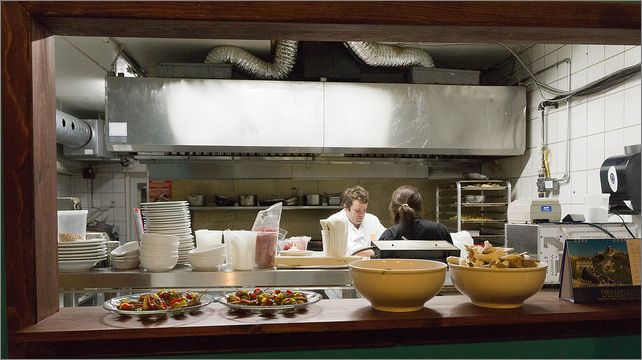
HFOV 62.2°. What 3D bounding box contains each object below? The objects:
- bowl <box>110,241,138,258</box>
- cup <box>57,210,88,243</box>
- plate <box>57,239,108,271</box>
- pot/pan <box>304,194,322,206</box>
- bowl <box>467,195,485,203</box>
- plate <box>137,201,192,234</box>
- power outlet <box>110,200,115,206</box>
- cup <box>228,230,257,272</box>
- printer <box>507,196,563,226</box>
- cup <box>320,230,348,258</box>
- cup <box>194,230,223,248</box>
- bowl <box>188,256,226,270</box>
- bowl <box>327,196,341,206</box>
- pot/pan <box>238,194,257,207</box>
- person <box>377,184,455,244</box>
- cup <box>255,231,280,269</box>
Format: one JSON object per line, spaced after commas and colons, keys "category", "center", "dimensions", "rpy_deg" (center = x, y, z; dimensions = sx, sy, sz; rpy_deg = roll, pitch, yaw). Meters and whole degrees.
{"category": "bowl", "center": [-1.800, 0.633, 4.868], "dimensions": [0.251, 0.078, 0.294], "rpy_deg": [-7, 13, -22]}
{"category": "cup", "center": [-2.161, 0.404, 4.574], "dimensions": [0.334, 0.218, 0.299], "rpy_deg": [2, -4, -11]}
{"category": "plate", "center": [-2.107, 0.658, 4.663], "dimensions": [0.321, 0.144, 0.299], "rpy_deg": [0, -7, 3]}
{"category": "pot/pan", "center": [-0.126, 0.288, 7.339], "dimensions": [0.181, 0.095, 0.172], "rpy_deg": [2, -1, -37]}
{"category": "bowl", "center": [2.003, 0.261, 6.928], "dimensions": [0.150, 0.050, 0.138], "rpy_deg": [2, -7, 0]}
{"category": "plate", "center": [-1.386, 0.349, 4.864], "dimensions": [0.367, 0.217, 0.340], "rpy_deg": [-1, -7, 1]}
{"category": "power outlet", "center": [-3.726, 0.428, 9.507], "dimensions": [0.119, 0.102, 0.039], "rpy_deg": [6, -3, -13]}
{"category": "cup", "center": [-0.696, 0.637, 4.698], "dimensions": [0.358, 0.329, 0.325], "rpy_deg": [0, -6, 7]}
{"category": "printer", "center": [2.189, 0.331, 5.468], "dimensions": [0.401, 0.224, 0.492], "rpy_deg": [1, -5, -1]}
{"category": "cup", "center": [0.153, 0.596, 4.991], "dimensions": [0.243, 0.221, 0.255], "rpy_deg": [1, -4, 0]}
{"category": "cup", "center": [-1.050, 0.557, 4.961], "dimensions": [0.226, 0.161, 0.176], "rpy_deg": [1, -4, -8]}
{"category": "bowl", "center": [-1.015, 0.745, 4.718], "dimensions": [0.189, 0.073, 0.177], "rpy_deg": [2, -5, 0]}
{"category": "bowl", "center": [0.185, 0.308, 7.365], "dimensions": [0.155, 0.080, 0.143], "rpy_deg": [1, -5, 0]}
{"category": "pot/pan", "center": [-0.991, 0.292, 7.190], "dimensions": [0.178, 0.102, 0.283], "rpy_deg": [0, -1, 0]}
{"category": "person", "center": [0.903, 0.396, 5.649], "dimensions": [0.909, 0.582, 0.421], "rpy_deg": [-4, -5, -10]}
{"category": "cup", "center": [-0.493, 0.640, 4.803], "dimensions": [0.221, 0.343, 0.096], "rpy_deg": [-6, 15, -11]}
